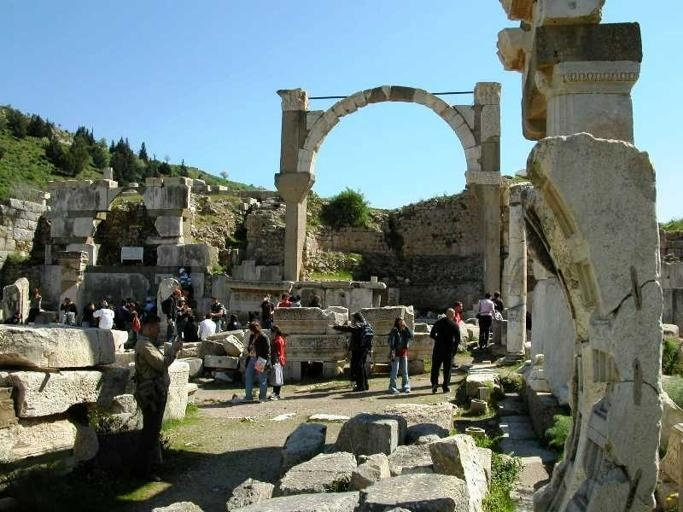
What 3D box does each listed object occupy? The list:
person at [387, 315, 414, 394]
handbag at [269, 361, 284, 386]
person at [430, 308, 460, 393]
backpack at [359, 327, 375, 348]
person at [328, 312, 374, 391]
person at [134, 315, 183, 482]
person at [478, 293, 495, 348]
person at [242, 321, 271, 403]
[{"bbox_3d":[0.967,1.618,12.528,0.363,1.231,0.496,1,-3,3],"label":"person"},{"bbox_3d":[-1.077,1.928,12.501,0.192,0.386,0.170,2,-3,-18],"label":"handbag"},{"bbox_3d":[1.700,1.538,12.555,0.474,1.351,0.817,0,-3,6],"label":"person"},{"bbox_3d":[0.446,1.349,12.824,0.137,0.394,0.296,-1,-4,23],"label":"backpack"},{"bbox_3d":[0.247,1.632,13.375,0.552,1.313,1.361,1,-3,2],"label":"person"},{"bbox_3d":[-2.035,1.502,8.287,0.457,1.720,0.498,2,-3,-17],"label":"person"},{"bbox_3d":[3.259,1.457,17.013,0.349,1.120,1.362,0,-3,11],"label":"person"},{"bbox_3d":[-1.367,1.690,12.381,0.439,1.289,0.578,2,-3,-17],"label":"person"}]
